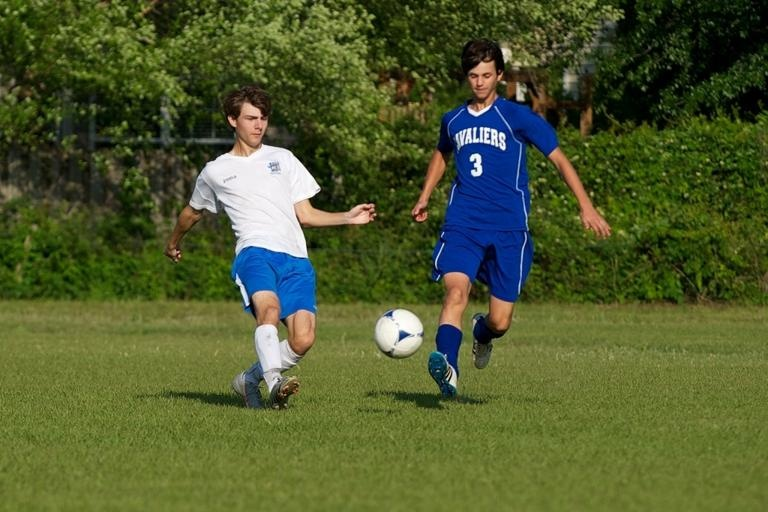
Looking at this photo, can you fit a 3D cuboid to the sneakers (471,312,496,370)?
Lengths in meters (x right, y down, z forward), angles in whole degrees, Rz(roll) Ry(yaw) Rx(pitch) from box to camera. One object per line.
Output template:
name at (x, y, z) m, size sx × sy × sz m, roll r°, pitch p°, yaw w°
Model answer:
sneakers at (1.231, 1.044, 14.874) m, size 0.247 × 0.689 × 0.292 m, roll -6°, pitch 24°, yaw -5°

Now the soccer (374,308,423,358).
soccer at (0.170, 0.870, 13.998) m, size 0.547 × 0.542 × 0.536 m, roll -1°, pitch 3°, yaw -11°

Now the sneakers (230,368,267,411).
sneakers at (-1.545, 1.531, 13.795) m, size 0.210 × 0.619 × 0.282 m, roll -39°, pitch 4°, yaw -24°

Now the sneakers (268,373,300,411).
sneakers at (-1.143, 1.446, 13.355) m, size 0.147 × 0.229 × 0.410 m, roll -32°, pitch 3°, yaw 35°
